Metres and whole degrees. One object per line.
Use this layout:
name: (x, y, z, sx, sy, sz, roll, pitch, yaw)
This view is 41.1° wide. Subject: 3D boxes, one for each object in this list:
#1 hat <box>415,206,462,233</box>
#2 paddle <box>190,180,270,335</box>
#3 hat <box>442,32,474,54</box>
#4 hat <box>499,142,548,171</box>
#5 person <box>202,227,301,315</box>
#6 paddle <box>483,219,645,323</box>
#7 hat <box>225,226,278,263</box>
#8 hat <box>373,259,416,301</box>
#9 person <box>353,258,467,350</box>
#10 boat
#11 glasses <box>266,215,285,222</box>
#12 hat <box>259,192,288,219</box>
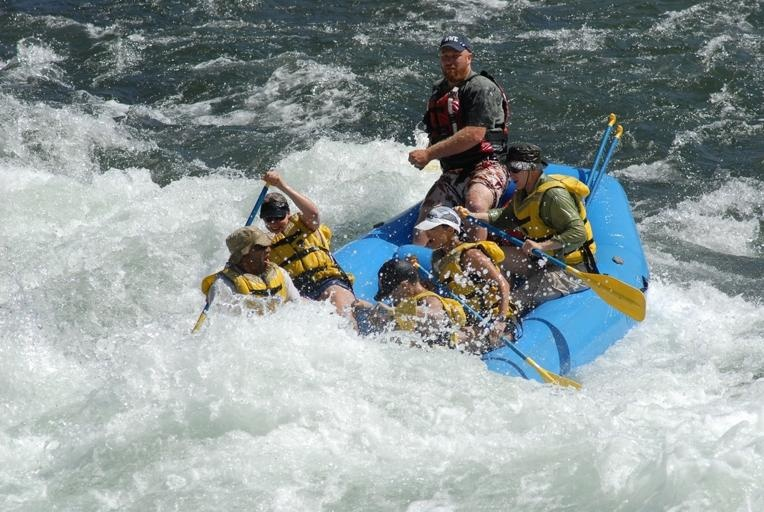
hat: (0.600, -0.427, 11.313, 0.431, 0.192, 0.266, 1, 2, -13)
paddle: (-1.781, 0.062, 11.815, 0.175, 0.127, 2.120, -8, 50, 54)
hat: (0.850, -2.522, 11.952, 0.343, 0.209, 0.326, 4, 45, 8)
hat: (1.656, -1.094, 11.669, 0.408, 0.165, 0.379, -15, 33, -28)
person: (-1.392, 0.186, 11.121, 0.403, 0.860, 0.778, 8, 28, 35)
paddle: (2.019, 0.205, 11.751, 2.258, 0.250, 0.159, 30, 19, 14)
hat: (-1.423, -0.163, 10.906, 0.455, 0.209, 0.319, -26, 25, -1)
hat: (0.105, 0.253, 11.144, 0.500, 0.257, 0.353, -30, 11, 35)
person: (0.379, 0.534, 11.021, 1.103, 0.747, 0.607, 21, 51, 23)
boat: (1.913, 0.498, 11.893, 3.514, 0.978, 2.296, -22, 58, -18)
glasses: (-1.207, -0.414, 11.363, 0.132, 0.057, 0.091, -7, 1, -10)
hat: (-1.226, -0.569, 11.394, 0.320, 0.220, 0.291, 1, 45, 5)
